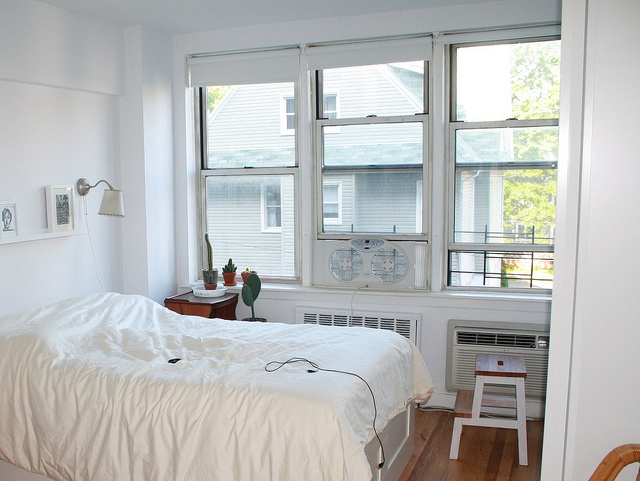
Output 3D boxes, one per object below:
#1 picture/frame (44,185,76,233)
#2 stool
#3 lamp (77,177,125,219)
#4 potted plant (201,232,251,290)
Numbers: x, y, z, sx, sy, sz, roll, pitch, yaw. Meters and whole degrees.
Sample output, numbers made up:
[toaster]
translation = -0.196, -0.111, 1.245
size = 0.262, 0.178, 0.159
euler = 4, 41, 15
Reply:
[picture/frame]
translation = -1.809, -0.213, 3.441
size = 0.052, 0.410, 0.333
euler = 0, 0, 19
[stool]
translation = 1.105, 1.079, 3.227
size = 0.474, 0.590, 0.420
euler = 2, 4, 20
[lamp]
translation = -1.603, -0.315, 3.631
size = 0.326, 0.256, 0.150
euler = 6, 1, 17
[potted plant]
translation = -0.814, 0.174, 4.328
size = 0.388, 0.437, 0.467
euler = 1, 3, -13
